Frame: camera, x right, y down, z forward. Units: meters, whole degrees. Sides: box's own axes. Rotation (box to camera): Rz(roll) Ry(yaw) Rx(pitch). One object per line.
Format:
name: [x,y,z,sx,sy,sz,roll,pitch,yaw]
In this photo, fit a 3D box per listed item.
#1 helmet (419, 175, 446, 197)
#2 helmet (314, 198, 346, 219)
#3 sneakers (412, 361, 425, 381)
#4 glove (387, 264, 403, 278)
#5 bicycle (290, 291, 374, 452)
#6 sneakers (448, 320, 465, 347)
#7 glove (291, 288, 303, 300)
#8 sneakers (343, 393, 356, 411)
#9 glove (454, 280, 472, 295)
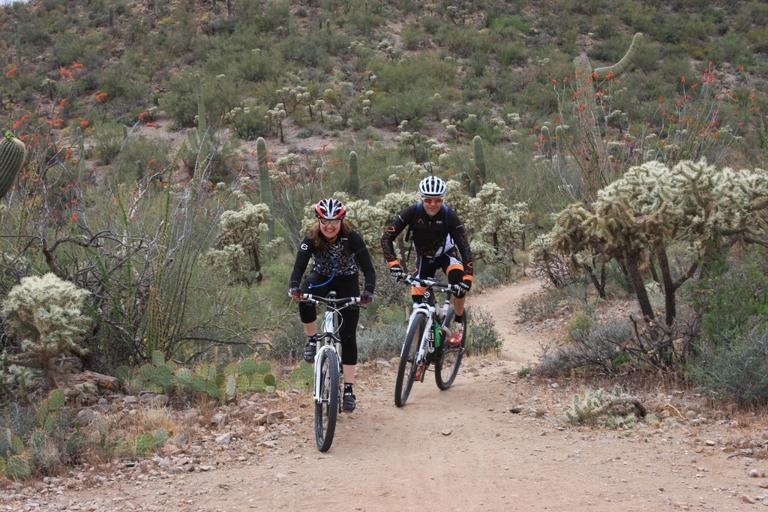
helmet: [0.812,-1.136,13.113,0.394,0.342,0.443,-2,-1,7]
helmet: [-0.818,-0.713,12.189,0.420,0.333,0.309,-2,-1,-10]
sneakers: [0.605,1.924,13.217,0.165,0.335,0.100,9,5,24]
glove: [0.209,0.278,12.980,0.179,0.072,0.187,28,31,23]
bicycle: [-0.837,1.740,12.292,0.771,2.423,1.145,-1,0,-7]
sneakers: [1.251,1.356,13.695,0.165,0.213,0.519,4,43,10]
glove: [-1.321,0.583,12.146,0.119,0.068,0.178,3,-35,-1]
sneakers: [-0.536,2.254,12.376,0.174,0.244,0.500,-1,-11,-1]
glove: [1.280,0.527,13.094,0.274,0.267,0.249,-2,-1,9]
